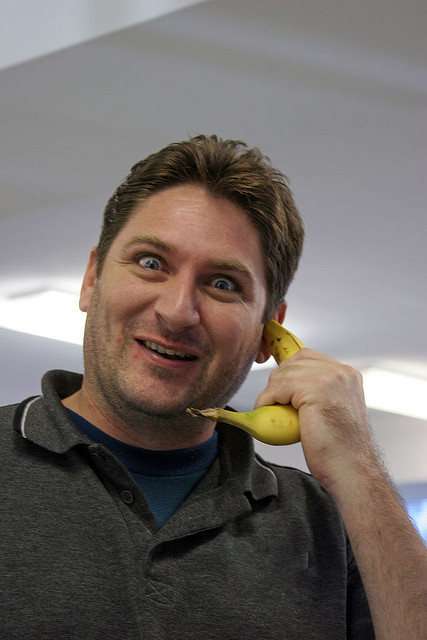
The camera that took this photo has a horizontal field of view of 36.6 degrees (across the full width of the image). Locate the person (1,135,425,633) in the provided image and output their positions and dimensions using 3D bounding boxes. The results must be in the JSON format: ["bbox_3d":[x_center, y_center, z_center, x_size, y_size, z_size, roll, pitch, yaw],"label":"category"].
[{"bbox_3d":[-0.030,0.134,1.467,1.229,0.939,0.511,11,-41,-12],"label":"person"}]
